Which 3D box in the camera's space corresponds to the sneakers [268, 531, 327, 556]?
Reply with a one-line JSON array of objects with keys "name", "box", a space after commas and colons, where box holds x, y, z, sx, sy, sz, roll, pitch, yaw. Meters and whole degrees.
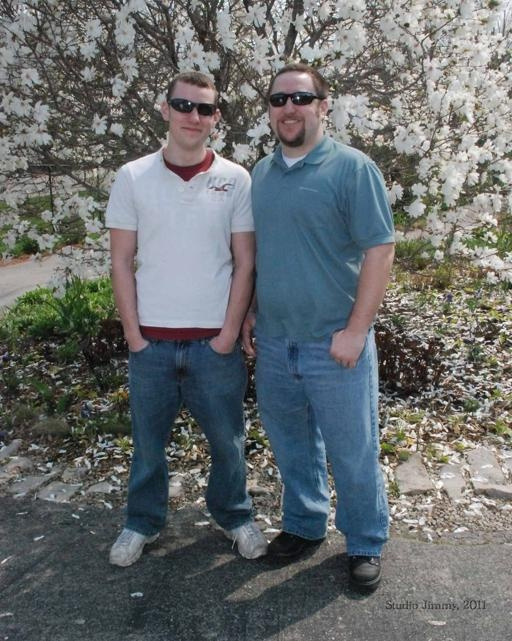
[{"name": "sneakers", "box": [0.197, 1.007, 2.543, 0.261, 0.099, 0.089, 5, 13, -37]}]

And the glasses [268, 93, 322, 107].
[{"name": "glasses", "box": [0.155, -0.866, 2.175, 0.207, 0.057, 0.083, 0, 15, 5]}]

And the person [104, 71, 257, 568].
[{"name": "person", "box": [-0.333, 0.029, 2.357, 0.679, 2.068, 0.463, -3, 16, -5]}]

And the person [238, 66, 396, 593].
[{"name": "person", "box": [0.243, 0.035, 2.258, 0.670, 2.075, 0.459, 6, 17, 24]}]

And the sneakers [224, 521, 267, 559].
[{"name": "sneakers", "box": [-0.043, 0.996, 2.527, 0.096, 0.078, 0.200, -8, 4, -28]}]

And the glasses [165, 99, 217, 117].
[{"name": "glasses", "box": [-0.257, -0.862, 2.242, 0.200, 0.074, 0.110, -3, 15, -8]}]

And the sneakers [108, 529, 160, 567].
[{"name": "sneakers", "box": [-0.559, 1.001, 2.462, 0.099, 0.084, 0.203, 3, 5, 18]}]
